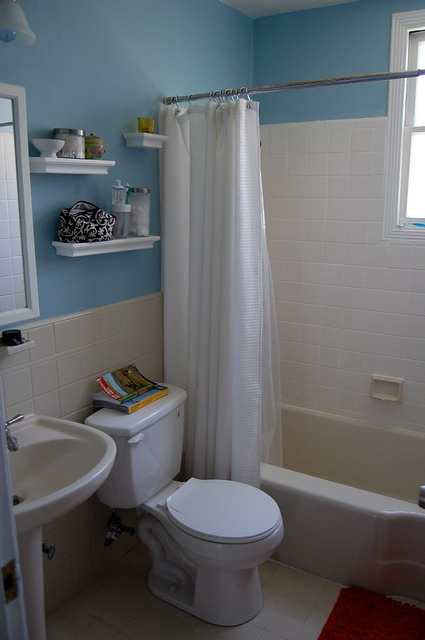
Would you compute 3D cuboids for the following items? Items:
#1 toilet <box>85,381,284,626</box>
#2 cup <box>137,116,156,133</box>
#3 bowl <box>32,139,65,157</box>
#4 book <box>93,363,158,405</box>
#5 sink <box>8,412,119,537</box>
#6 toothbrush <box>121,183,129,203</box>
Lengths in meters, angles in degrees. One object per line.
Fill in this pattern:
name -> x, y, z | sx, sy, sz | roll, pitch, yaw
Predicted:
toilet -> -0.063, 0.677, 1.733 | 0.595, 0.732, 0.416 | 4, 12, 29
cup -> -0.245, -0.726, 1.753 | 0.051, 0.054, 0.065 | 2, 1, 23
bowl -> -0.469, -0.496, 1.347 | 0.055, 0.036, 0.061 | 4, 9, -1
book -> -0.355, 0.201, 1.818 | 0.199, 0.101, 0.240 | 19, 20, 34
sink -> -0.421, 0.412, 1.327 | 0.319, 0.125, 0.386 | 9, 19, 15
toothbrush -> -0.325, -0.479, 1.765 | 0.024, 0.090, 0.134 | -2, 7, -9
